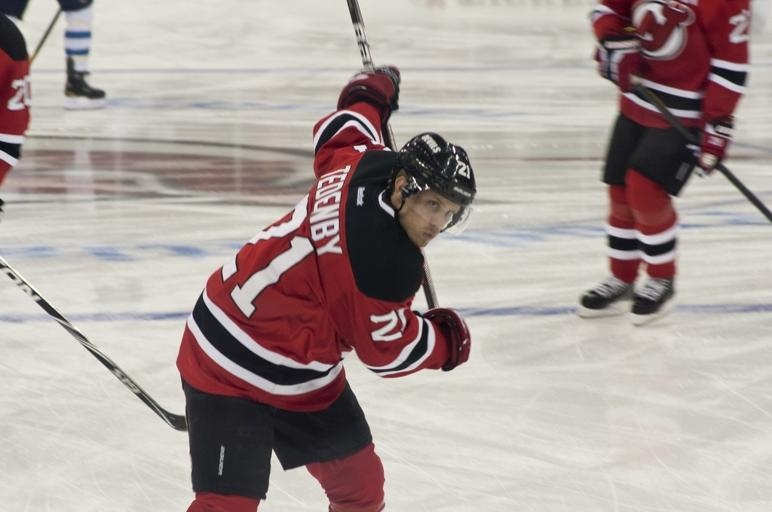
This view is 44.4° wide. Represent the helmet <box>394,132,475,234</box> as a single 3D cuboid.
[{"bbox_3d":[0.194,-0.286,3.617,0.275,0.340,0.169,-1,24,1],"label":"helmet"}]

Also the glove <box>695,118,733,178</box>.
[{"bbox_3d":[1.587,-0.534,4.561,0.226,0.213,0.097,12,0,19],"label":"glove"}]

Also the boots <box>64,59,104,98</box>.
[{"bbox_3d":[-2.324,-1.329,7.205,0.159,0.288,0.357,18,9,38],"label":"boots"}]
